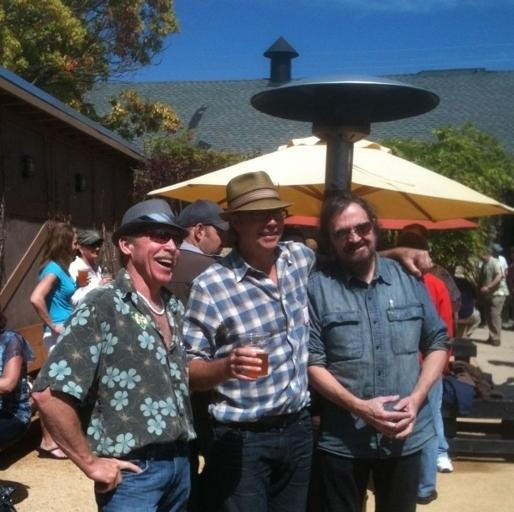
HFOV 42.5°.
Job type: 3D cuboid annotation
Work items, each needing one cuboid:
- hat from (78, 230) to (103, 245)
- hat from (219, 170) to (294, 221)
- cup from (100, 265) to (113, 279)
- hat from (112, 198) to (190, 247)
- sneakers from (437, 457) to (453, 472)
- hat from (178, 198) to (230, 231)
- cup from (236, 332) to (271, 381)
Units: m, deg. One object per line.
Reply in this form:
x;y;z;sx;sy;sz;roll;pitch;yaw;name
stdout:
-1.677;-0.183;6.500;0.155;0.078;0.210;27;-15;-36;hat
-0.010;-0.298;3.391;0.258;0.136;0.280;-12;-4;-39;hat
-2.261;0.228;9.895;0.216;0.210;0.201;-1;5;0;cup
-0.481;-0.179;3.072;0.222;0.100;0.290;10;-23;-43;hat
1.559;1.744;5.561;0.138;0.138;0.354;-4;-15;8;sneakers
-0.359;-0.278;4.453;0.354;0.175;0.229;-1;8;-5;hat
0.008;0.443;2.954;0.192;0.185;0.183;-1;-20;0;cup
